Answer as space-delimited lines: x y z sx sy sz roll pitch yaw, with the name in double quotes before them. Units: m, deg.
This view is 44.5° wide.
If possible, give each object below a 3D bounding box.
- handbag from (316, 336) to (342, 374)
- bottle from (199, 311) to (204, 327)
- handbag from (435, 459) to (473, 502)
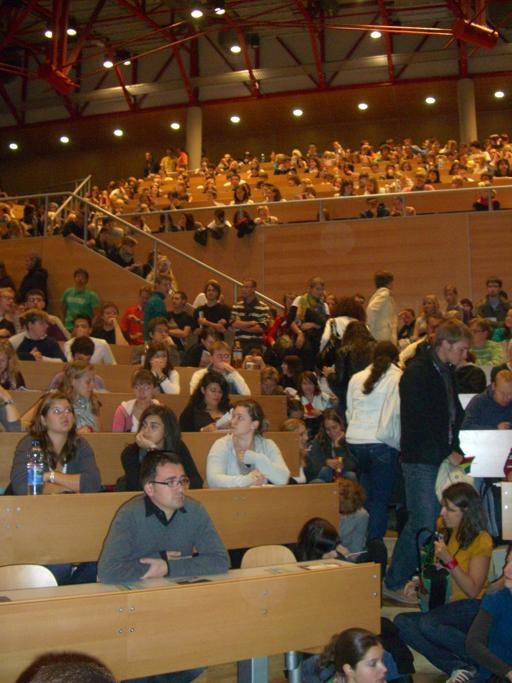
"handbag" 0.674 0.108 5.723 0.103 0.271 0.212 26 2 -7
"bottle" -0.688 -0.289 7.940 0.094 0.207 0.189 0 -3 -5
"handbag" 1.080 0.765 3.435 0.204 0.237 0.151 22 -20 -35
